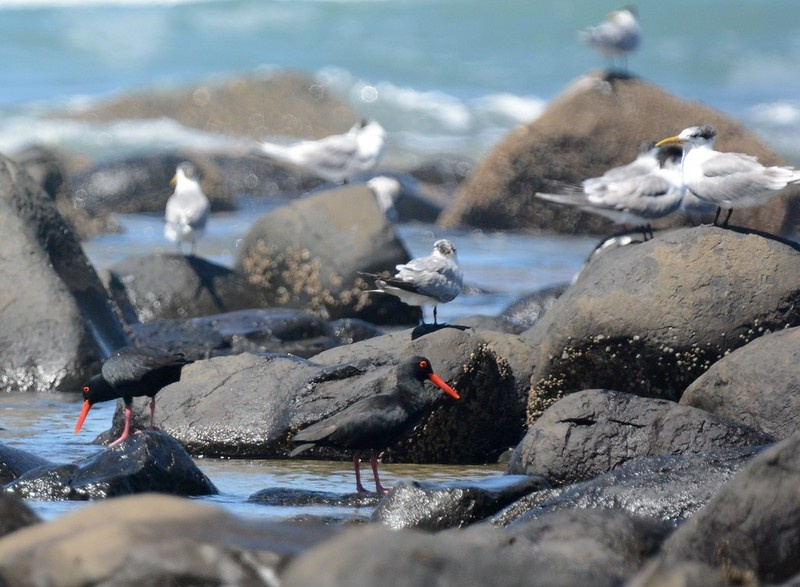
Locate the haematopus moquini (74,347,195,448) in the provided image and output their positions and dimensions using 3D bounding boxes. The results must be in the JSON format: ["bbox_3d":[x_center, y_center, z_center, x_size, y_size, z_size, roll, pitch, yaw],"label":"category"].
[{"bbox_3d":[-3.010,1.164,19.237,1.715,1.011,0.768,-17,-15,30],"label":"haematopus moquini"}]

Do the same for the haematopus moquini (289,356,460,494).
[{"bbox_3d":[-0.270,1.460,18.413,1.811,1.365,0.812,-4,6,-14],"label":"haematopus moquini"}]
